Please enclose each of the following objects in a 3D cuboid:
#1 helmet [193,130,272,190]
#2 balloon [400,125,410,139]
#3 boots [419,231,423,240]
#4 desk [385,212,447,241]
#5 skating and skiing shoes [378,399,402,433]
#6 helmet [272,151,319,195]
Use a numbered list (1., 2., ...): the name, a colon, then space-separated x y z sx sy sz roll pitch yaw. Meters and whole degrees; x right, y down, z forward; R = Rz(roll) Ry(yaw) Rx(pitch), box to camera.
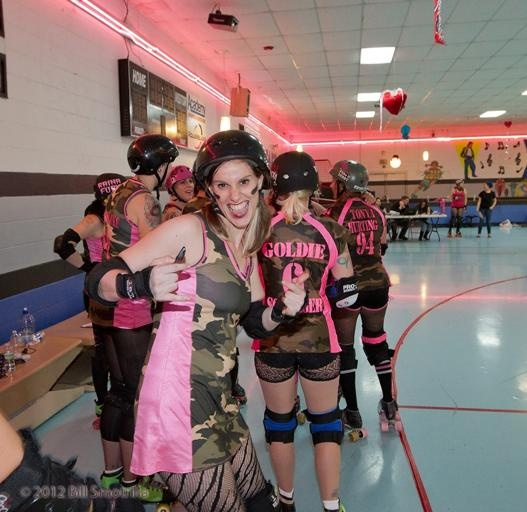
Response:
1. helmet: -0.120 -0.291 1.309 0.203 0.248 0.189 -1 1 -3
2. balloon: 5.510 -4.873 14.770 0.271 0.486 0.990 -2 8 18
3. boots: 6.047 -0.804 14.521 0.143 0.330 0.511 -1 8 24
4. desk: 5.920 -1.146 14.916 2.027 0.674 0.918 1 24 7
5. skating and skiing shoes: 0.983 1.256 2.992 0.152 0.200 0.299 -4 -4 5
6. helmet: 0.184 -0.464 2.201 0.269 0.272 0.361 -5 -4 8
